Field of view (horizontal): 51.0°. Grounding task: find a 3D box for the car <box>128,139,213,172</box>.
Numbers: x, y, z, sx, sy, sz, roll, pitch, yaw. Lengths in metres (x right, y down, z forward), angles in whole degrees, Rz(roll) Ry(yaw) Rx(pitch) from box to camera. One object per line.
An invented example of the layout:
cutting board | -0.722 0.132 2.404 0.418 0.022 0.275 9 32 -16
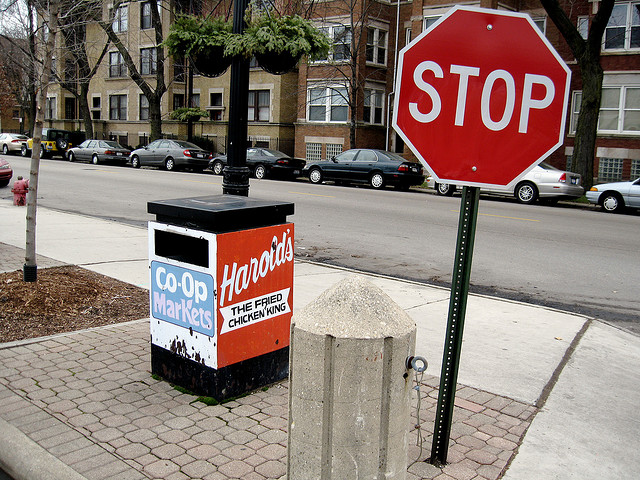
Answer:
car | -7.199 -4.016 32.067 4.403 1.499 0.968 12 15 33

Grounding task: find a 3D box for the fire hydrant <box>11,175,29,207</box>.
fire hydrant | -7.059 -1.180 15.723 0.321 0.672 0.790 -3 14 -26

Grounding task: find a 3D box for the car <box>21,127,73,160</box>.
car | -16.365 -6.012 41.599 1.761 1.883 2.430 -2 13 -19

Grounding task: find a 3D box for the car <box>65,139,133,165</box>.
car | -11.715 -4.639 35.489 3.671 1.321 1.467 12 16 35
